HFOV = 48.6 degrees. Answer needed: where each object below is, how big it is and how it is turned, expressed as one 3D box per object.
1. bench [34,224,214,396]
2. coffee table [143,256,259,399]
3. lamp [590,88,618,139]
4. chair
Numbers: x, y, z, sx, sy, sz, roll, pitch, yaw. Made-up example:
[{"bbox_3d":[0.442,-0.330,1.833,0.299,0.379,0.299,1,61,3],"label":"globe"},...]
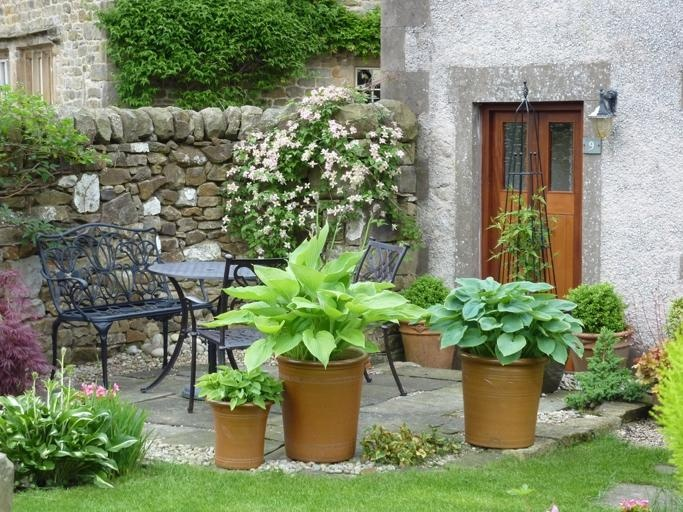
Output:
[{"bbox_3d":[-1.819,0.377,6.303,0.727,1.190,1.216,9,8,35],"label":"bench"},{"bbox_3d":[-1.008,0.537,5.909,0.608,0.701,0.619,5,-10,-29],"label":"coffee table"},{"bbox_3d":[2.231,-1.215,6.429,0.213,0.429,0.209,1,5,27],"label":"lamp"},{"bbox_3d":[-0.707,0.530,5.332,0.810,1.193,0.862,5,-6,-14],"label":"chair"}]
